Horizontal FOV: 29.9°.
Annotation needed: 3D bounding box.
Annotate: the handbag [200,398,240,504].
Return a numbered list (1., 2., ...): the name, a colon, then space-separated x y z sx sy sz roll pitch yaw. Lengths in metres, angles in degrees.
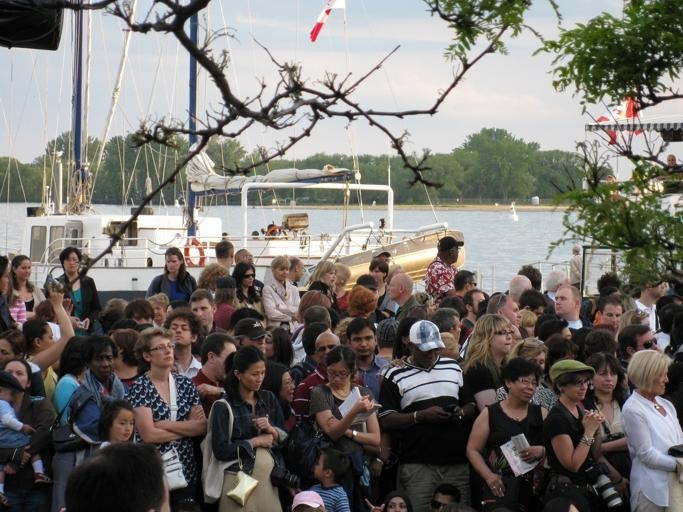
1. handbag: -1.106 1.743 11.513 0.353 0.924 0.237 1 1 5

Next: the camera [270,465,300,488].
1. camera: -0.512 1.993 11.601 0.248 0.210 0.158 1 1 -3

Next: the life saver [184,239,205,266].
1. life saver: -2.791 -0.068 24.246 0.128 0.504 0.497 -3 -4 38

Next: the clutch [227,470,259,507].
1. clutch: -0.879 2.058 11.394 0.269 0.304 0.127 1 1 -8

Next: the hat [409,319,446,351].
1. hat: 0.798 0.746 12.078 0.218 0.173 0.328 -4 8 -17

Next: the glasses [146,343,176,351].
1. glasses: -1.641 0.826 11.686 0.199 0.086 0.104 1 1 -20

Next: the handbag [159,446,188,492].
1. handbag: -1.489 1.898 11.441 0.236 0.373 0.376 1 1 -7

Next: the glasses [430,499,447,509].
1. glasses: 0.907 2.329 12.004 0.039 0.098 0.211 0 1 -29

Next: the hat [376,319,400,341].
1. hat: 0.464 0.753 13.134 0.163 0.132 0.229 6 23 1

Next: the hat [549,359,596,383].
1. hat: 2.085 1.017 11.694 0.284 0.106 0.232 -5 -2 -1

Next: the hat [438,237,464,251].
1. hat: 1.393 -0.134 16.326 0.279 0.146 0.177 -18 15 -20

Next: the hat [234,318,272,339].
1. hat: -0.913 0.721 12.708 0.246 0.137 0.183 -9 -2 17

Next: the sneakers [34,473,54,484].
1. sneakers: -2.726 2.030 11.731 0.191 0.083 0.075 1 2 -16

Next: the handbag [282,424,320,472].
1. handbag: -0.371 1.778 11.795 0.281 0.400 0.205 24 -25 -30
